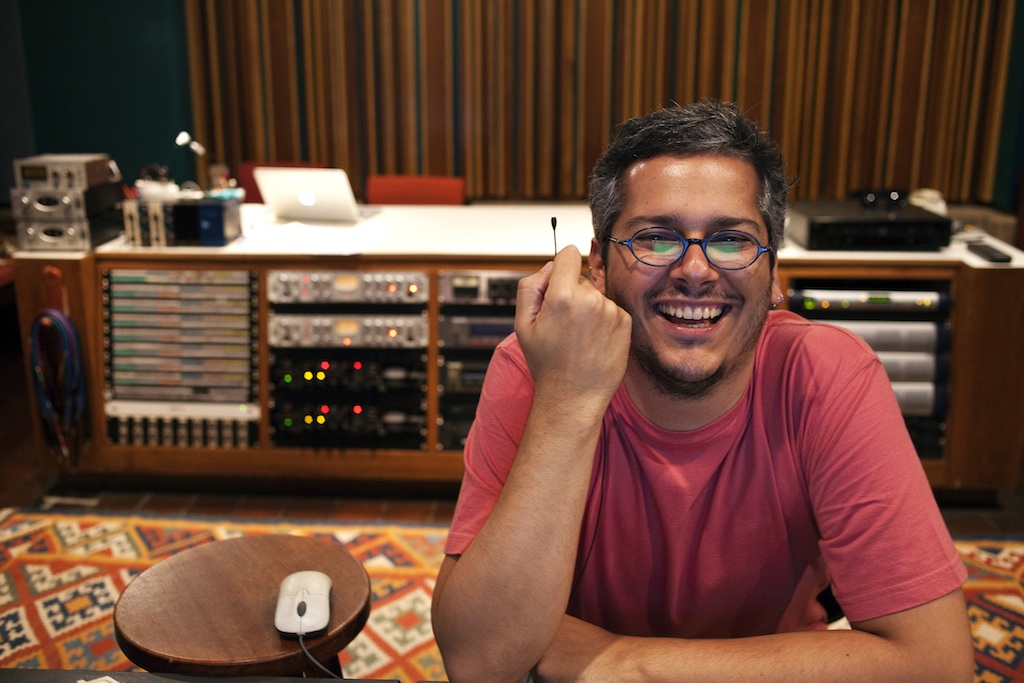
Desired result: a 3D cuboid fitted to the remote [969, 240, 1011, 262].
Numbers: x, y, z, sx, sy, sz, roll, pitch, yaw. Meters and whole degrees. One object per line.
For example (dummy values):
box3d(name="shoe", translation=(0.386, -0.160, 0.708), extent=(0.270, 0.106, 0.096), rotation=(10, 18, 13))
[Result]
box3d(name="remote", translation=(2.196, -0.419, 3.974), extent=(0.155, 0.074, 0.319), rotation=(2, 13, 13))

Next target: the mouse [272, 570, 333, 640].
box3d(name="mouse", translation=(-0.599, 0.744, 2.468), extent=(0.146, 0.055, 0.237), rotation=(1, 23, -10))
